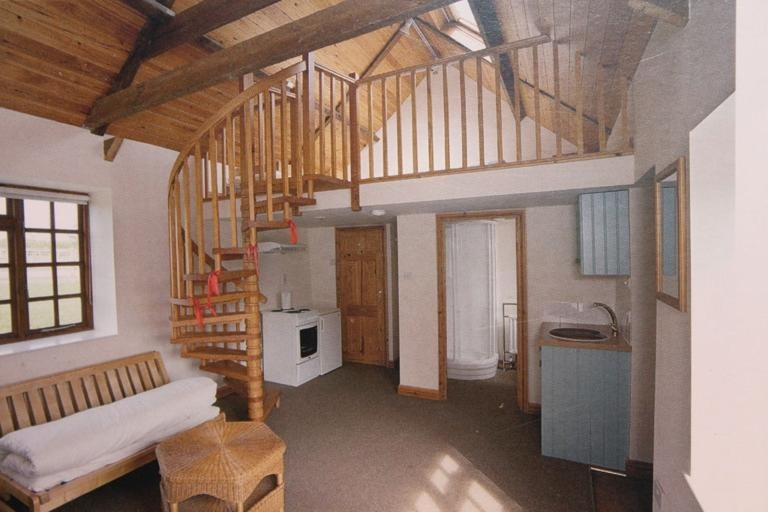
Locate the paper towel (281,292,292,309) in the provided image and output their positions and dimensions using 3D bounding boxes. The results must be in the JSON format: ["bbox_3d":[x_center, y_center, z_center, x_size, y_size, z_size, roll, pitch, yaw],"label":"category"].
[{"bbox_3d":[-1.256,0.555,7.651,0.119,0.171,0.240,-6,2,-15],"label":"paper towel"}]

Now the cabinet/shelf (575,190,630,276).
[{"bbox_3d":[1.915,-0.198,5.197,0.236,0.729,0.448,-8,4,-37],"label":"cabinet/shelf"}]

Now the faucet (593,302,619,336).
[{"bbox_3d":[1.966,0.536,5.185,0.191,0.244,0.342,-6,2,-7],"label":"faucet"}]

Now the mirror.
[{"bbox_3d":[1.785,-0.151,3.734,0.055,0.815,1.079,-2,2,21],"label":"mirror"}]
